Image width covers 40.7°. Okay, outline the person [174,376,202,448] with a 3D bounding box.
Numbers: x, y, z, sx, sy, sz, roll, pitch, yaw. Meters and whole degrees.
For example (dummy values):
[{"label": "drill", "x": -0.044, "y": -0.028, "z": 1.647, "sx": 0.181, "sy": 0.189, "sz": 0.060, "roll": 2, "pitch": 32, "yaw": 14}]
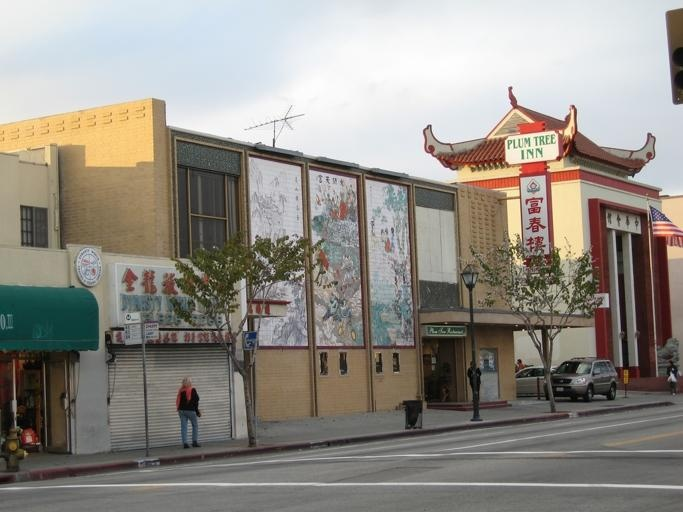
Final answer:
[{"label": "person", "x": -4.692, "y": 4.815, "z": 28.387, "sx": 0.656, "sy": 2.119, "sz": 1.421, "roll": -1, "pitch": -8, "yaw": -9}]
